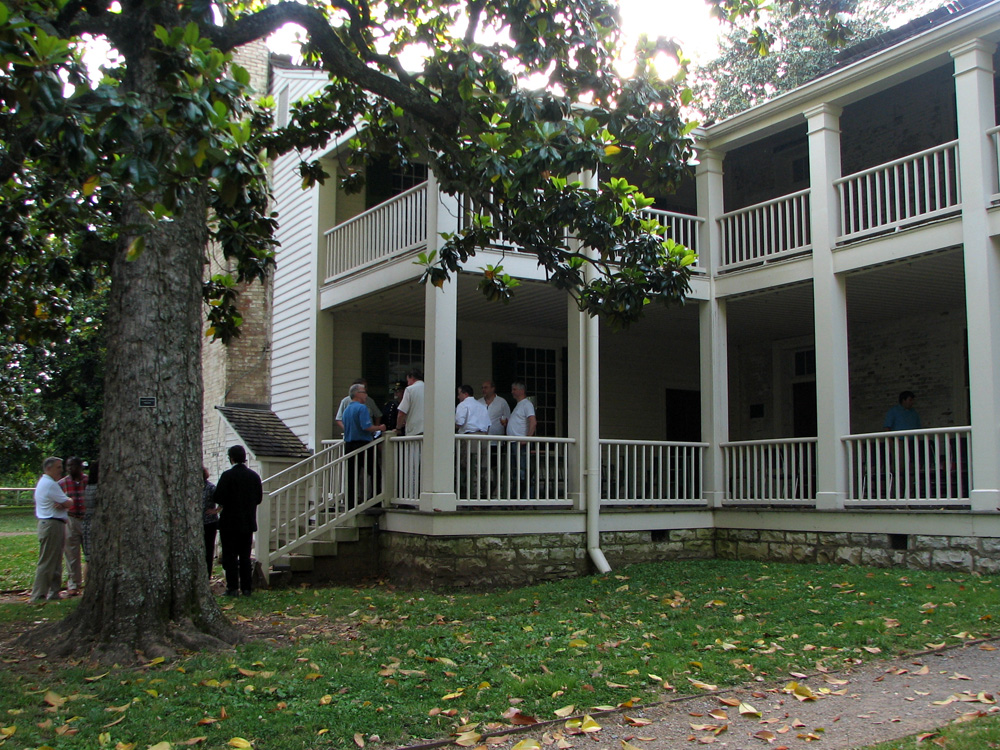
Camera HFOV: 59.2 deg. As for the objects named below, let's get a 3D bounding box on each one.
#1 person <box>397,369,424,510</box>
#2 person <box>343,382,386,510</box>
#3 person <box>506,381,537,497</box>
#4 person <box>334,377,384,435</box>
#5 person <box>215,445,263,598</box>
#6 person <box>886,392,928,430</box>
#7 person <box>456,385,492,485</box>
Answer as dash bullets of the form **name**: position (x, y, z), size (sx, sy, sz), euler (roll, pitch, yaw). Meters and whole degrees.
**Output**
- **person**: position (-1.420, 0.921, 13.796), size (0.430, 1.994, 1.123), euler (-1, 1, -7)
- **person**: position (-2.244, 1.158, 14.459), size (0.630, 2.033, 1.065), euler (-1, 1, -9)
- **person**: position (0.329, 1.021, 13.813), size (0.425, 1.767, 1.432), euler (-1, 1, 0)
- **person**: position (-2.475, 0.560, 15.437), size (0.681, 1.353, 0.964), euler (-7, -6, 38)
- **person**: position (-3.837, 2.095, 12.816), size (0.612, 2.099, 0.785), euler (-1, 1, -2)
- **person**: position (6.955, 0.614, 15.016), size (0.493, 0.702, 3.905), euler (-1, 1, 27)
- **person**: position (-0.416, 1.022, 13.523), size (0.511, 1.683, 1.276), euler (-1, 1, -3)
